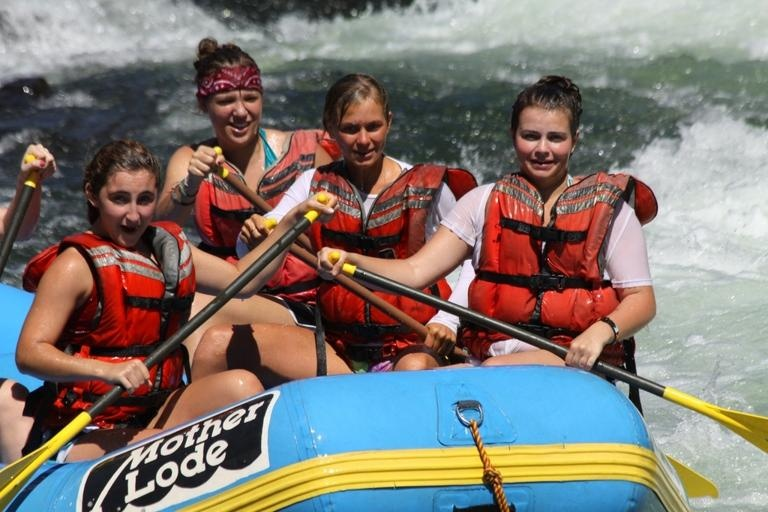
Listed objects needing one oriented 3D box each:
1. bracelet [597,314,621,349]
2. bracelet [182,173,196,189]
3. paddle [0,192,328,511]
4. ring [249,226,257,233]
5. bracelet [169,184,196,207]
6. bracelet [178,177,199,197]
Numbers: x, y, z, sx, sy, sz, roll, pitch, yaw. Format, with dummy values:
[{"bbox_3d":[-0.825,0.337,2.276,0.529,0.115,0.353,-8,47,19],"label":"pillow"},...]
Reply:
[{"bbox_3d":[1.201,0.385,4.601,0.108,0.153,0.168,17,41,5],"label":"bracelet"},{"bbox_3d":[-1.150,-0.439,5.111,0.090,0.092,0.059,4,-4,40],"label":"bracelet"},{"bbox_3d":[-1.162,0.546,4.579,2.208,0.337,0.320,-43,23,-22],"label":"paddle"},{"bbox_3d":[-0.740,-0.149,4.888,0.023,0.023,0.017,13,58,-20],"label":"ring"},{"bbox_3d":[-1.214,-0.367,5.194,0.108,0.075,0.136,6,-2,-33],"label":"bracelet"},{"bbox_3d":[-1.166,-0.410,5.120,0.088,0.125,0.051,10,18,27],"label":"bracelet"}]
